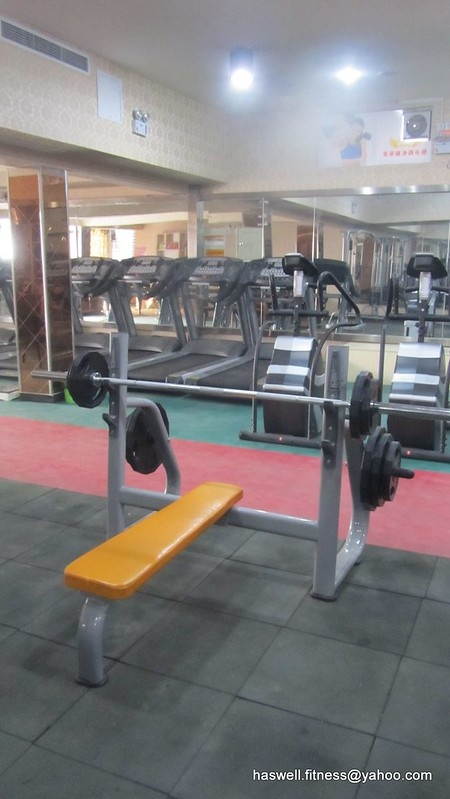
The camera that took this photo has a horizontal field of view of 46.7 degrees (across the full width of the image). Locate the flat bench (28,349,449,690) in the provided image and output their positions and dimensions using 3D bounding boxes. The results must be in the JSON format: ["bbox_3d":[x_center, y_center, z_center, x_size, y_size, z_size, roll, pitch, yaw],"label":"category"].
[{"bbox_3d":[-0.054,0.268,2.149,1.537,1.066,1.488,2,6,21],"label":"flat bench"}]

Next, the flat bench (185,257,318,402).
[{"bbox_3d":[0.347,-0.864,5.812,1.083,1.497,1.885,6,16,31],"label":"flat bench"}]
